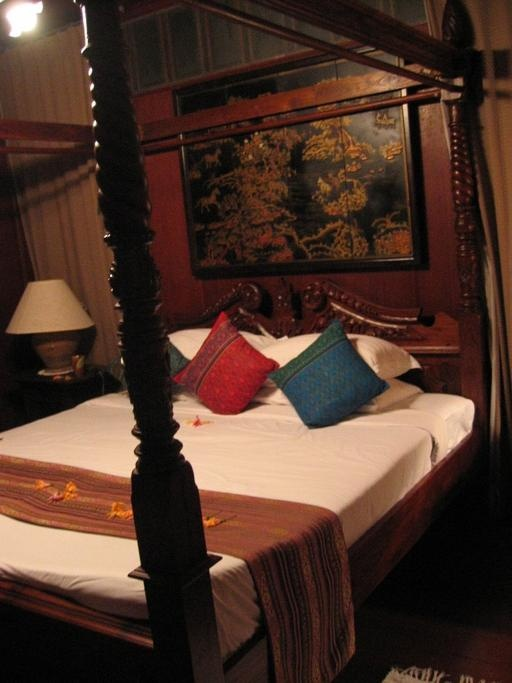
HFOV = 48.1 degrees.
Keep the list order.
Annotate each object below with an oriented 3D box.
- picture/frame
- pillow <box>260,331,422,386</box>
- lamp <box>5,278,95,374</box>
[{"bbox_3d":[0.301,-1.078,3.353,1.686,1.094,0.082,3,15,32],"label":"picture/frame"},{"bbox_3d":[0.455,0.051,2.995,0.417,0.113,0.412,5,13,29],"label":"pillow"},{"bbox_3d":[-1.281,-0.145,4.128,0.660,0.718,0.703,-4,14,-5],"label":"lamp"}]
